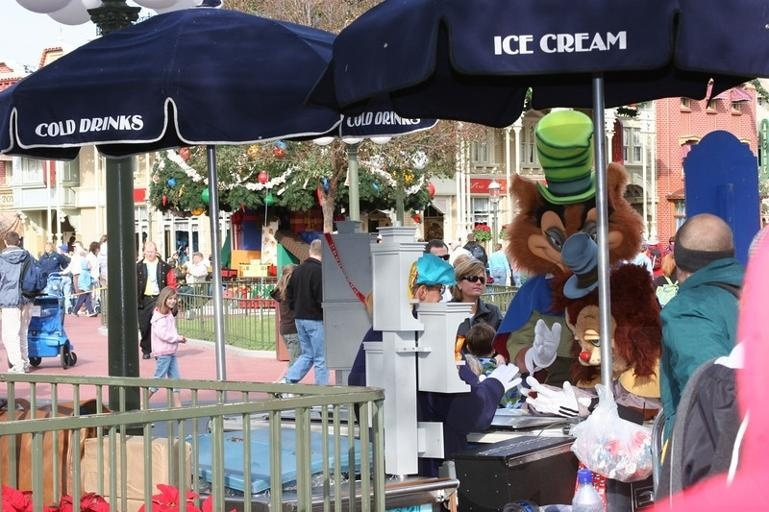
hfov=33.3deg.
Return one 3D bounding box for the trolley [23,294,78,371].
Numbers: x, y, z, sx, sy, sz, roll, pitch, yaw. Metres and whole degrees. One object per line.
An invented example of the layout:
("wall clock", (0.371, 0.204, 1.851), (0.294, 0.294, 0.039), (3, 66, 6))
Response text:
("trolley", (-4.780, 1.046, 18.390), (0.757, 1.115, 0.875), (1, 1, -1))
